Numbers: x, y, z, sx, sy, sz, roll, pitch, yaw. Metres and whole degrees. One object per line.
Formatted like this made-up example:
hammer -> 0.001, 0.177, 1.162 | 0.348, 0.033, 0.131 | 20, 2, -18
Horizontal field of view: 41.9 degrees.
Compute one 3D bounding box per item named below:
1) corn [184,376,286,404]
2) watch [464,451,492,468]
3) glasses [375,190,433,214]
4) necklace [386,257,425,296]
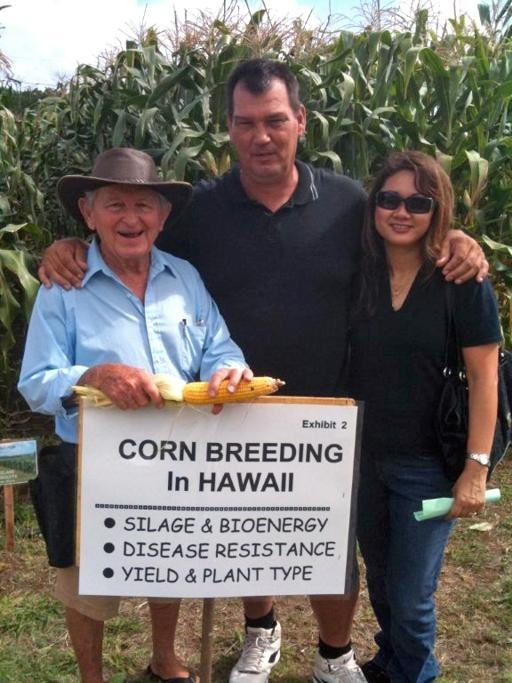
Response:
corn -> -0.086, 0.137, 2.124 | 0.258, 0.092, 0.245 | 3, 3, -24
watch -> 0.851, 0.451, 2.557 | 0.063, 0.036, 0.065 | 19, -15, -38
glasses -> 0.572, -0.537, 2.593 | 0.219, 0.096, 0.078 | 2, 8, 10
necklace -> 0.585, -0.262, 2.686 | 0.104, 0.173, 0.048 | 1, -2, 14
